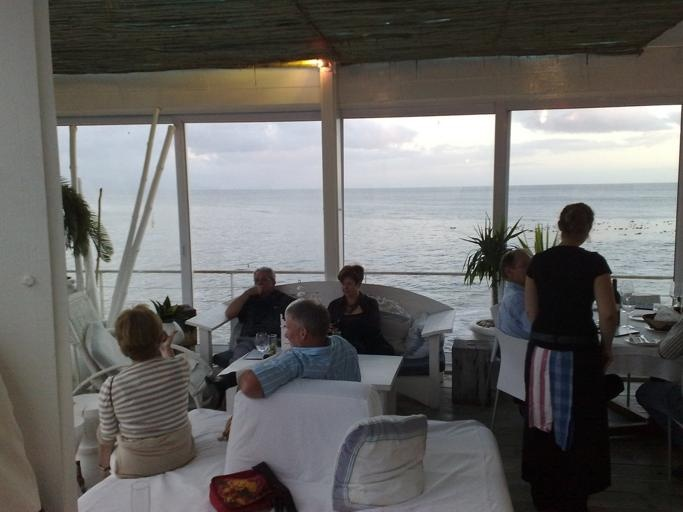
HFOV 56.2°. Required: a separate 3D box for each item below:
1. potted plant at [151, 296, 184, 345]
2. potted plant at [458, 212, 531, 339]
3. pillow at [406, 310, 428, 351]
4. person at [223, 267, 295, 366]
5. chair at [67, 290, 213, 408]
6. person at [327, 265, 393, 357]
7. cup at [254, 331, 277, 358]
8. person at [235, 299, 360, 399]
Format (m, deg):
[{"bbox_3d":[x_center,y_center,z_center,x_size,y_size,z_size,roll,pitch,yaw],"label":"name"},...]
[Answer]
[{"bbox_3d":[-1.463,0.576,5.268,0.253,0.400,0.260,-3,-17,13],"label":"potted plant"},{"bbox_3d":[1.329,0.064,5.456,0.536,0.725,0.483,-3,-7,20],"label":"potted plant"},{"bbox_3d":[0.578,0.611,5.126,0.069,0.196,0.240,24,48,-1],"label":"pillow"},{"bbox_3d":[-0.669,0.598,5.180,0.616,1.002,0.659,-1,-5,17],"label":"person"},{"bbox_3d":[-1.564,0.743,4.721,1.041,0.987,0.781,1,9,5],"label":"chair"},{"bbox_3d":[0.075,0.459,5.033,0.612,0.774,0.518,-8,-7,15],"label":"person"},{"bbox_3d":[-0.492,0.584,4.151,0.121,0.197,0.132,0,-1,0],"label":"cup"},{"bbox_3d":[-0.227,0.518,3.545,0.256,0.808,0.534,15,19,42],"label":"person"}]
